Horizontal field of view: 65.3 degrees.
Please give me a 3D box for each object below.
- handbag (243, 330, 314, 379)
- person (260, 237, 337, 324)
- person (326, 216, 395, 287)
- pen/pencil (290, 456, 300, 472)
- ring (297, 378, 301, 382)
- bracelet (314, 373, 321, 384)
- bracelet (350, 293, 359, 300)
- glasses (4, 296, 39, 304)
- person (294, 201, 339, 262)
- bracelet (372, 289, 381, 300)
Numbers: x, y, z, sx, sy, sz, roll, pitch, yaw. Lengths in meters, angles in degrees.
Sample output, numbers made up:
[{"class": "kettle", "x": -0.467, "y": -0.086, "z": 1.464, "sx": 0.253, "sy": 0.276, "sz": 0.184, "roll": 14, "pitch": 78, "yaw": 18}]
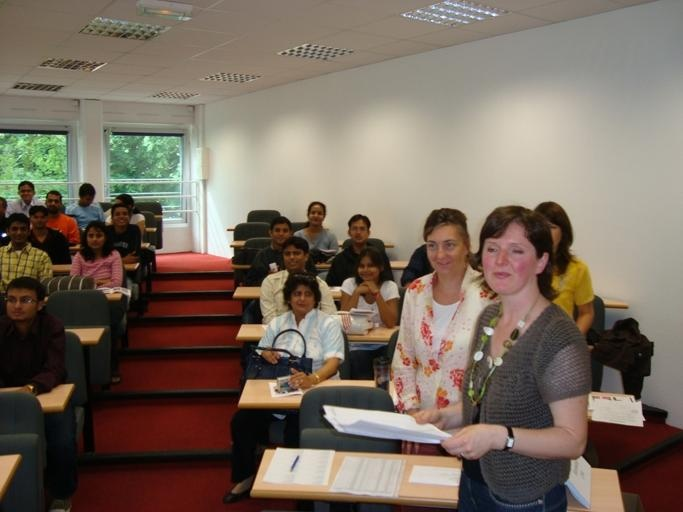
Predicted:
[{"class": "handbag", "x": -0.386, "y": 0.629, "z": 3.389, "sx": 0.316, "sy": 0.161, "sz": 0.296, "roll": 8, "pitch": 49, "yaw": 16}, {"class": "person", "x": -0.413, "y": 0.274, "z": 4.447, "sx": 0.663, "sy": 0.899, "sz": 0.650, "roll": -2, "pitch": -7, "yaw": 14}, {"class": "person", "x": 0.231, "y": -0.059, "z": 5.743, "sx": 0.763, "sy": 0.823, "sz": 0.453, "roll": -1, "pitch": -18, "yaw": 2}, {"class": "pen/pencil", "x": -0.201, "y": 0.886, "z": 2.280, "sx": 0.012, "sy": 0.013, "sz": 0.084, "roll": 4, "pitch": 17, "yaw": 14}, {"class": "ring", "x": -0.250, "y": 0.724, "z": 3.121, "sx": 0.017, "sy": 0.007, "sz": 0.013, "roll": -4, "pitch": 9, "yaw": -11}, {"class": "bracelet", "x": -0.150, "y": 0.729, "z": 3.227, "sx": 0.022, "sy": 0.041, "sz": 0.047, "roll": -9, "pitch": 25, "yaw": -6}, {"class": "bracelet", "x": 0.105, "y": 0.317, "z": 4.262, "sx": 0.046, "sy": 0.048, "sz": 0.049, "roll": -8, "pitch": 15, "yaw": -34}, {"class": "glasses", "x": -2.018, "y": 0.274, "z": 3.357, "sx": 0.142, "sy": 0.053, "sz": 0.027, "roll": -3, "pitch": 8, "yaw": -17}, {"class": "person", "x": -0.346, "y": -0.265, "z": 7.027, "sx": 0.635, "sy": 0.872, "sz": 0.504, "roll": 0, "pitch": -3, "yaw": 2}, {"class": "bracelet", "x": 0.275, "y": 0.304, "z": 4.217, "sx": 0.021, "sy": 0.061, "sz": 0.063, "roll": -2, "pitch": 7, "yaw": -18}]
